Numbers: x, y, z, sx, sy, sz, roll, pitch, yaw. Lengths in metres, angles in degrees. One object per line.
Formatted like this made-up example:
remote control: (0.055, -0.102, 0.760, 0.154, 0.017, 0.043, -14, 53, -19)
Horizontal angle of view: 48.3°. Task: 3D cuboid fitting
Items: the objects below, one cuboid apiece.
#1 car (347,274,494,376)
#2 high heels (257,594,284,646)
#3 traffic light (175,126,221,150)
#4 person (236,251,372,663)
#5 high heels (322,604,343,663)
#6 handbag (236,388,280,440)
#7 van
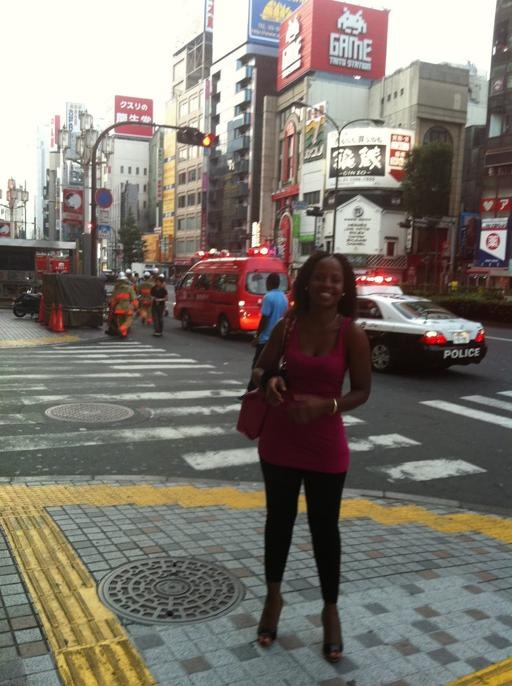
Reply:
car: (2.872, -0.578, 12.649, 1.916, 1.439, 4.226, -4, 11, -24)
high heels: (0.056, 1.154, 2.393, 0.080, 0.057, 0.247, 2, 11, 9)
traffic light: (-1.863, -6.396, 17.690, 1.091, 0.735, 0.816, 3, 1, -16)
person: (0.179, 0.422, 2.413, 0.543, 1.348, 0.433, 4, 2, 10)
high heels: (0.294, 1.168, 2.290, 0.066, 0.074, 0.203, 0, -1, -2)
handbag: (0.002, 0.312, 2.506, 0.133, 0.209, 0.161, 26, 6, 16)
van: (-0.884, -1.631, 19.712, 2.197, 2.226, 4.914, -4, 8, -30)
